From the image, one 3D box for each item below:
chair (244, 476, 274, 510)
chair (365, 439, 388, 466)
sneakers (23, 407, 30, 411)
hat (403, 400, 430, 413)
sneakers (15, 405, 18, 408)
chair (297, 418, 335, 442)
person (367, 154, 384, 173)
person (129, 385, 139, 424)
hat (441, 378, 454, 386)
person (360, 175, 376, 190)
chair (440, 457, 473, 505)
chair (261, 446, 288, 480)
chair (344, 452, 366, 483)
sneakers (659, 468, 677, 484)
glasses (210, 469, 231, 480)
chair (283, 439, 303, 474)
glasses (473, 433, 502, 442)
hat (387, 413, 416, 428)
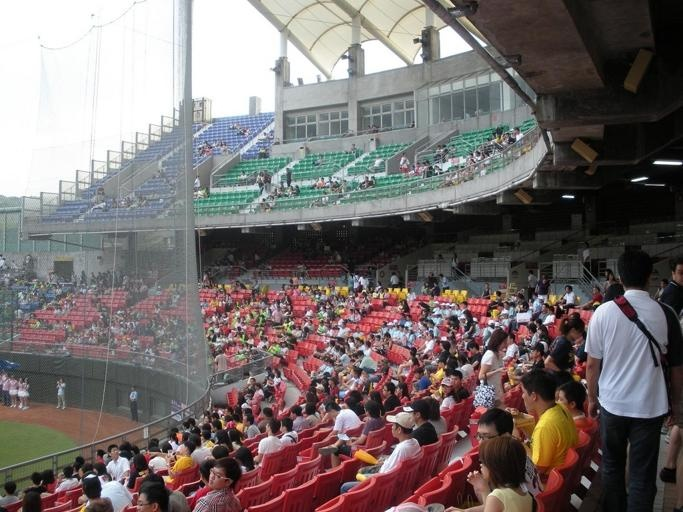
[{"bbox_3d":[-1.218,3.359,10.727,0.364,0.556,0.368,1,-1,42],"label":"chair"},{"bbox_3d":[0.614,3.031,11.530,0.247,0.314,0.235,2,0,44],"label":"chair"},{"bbox_3d":[-7.527,3.620,17.908,0.164,0.079,0.059,-3,-8,27],"label":"sneakers"},{"bbox_3d":[1.076,2.118,10.709,0.259,0.141,0.182,7,-3,7],"label":"hat"},{"bbox_3d":[-7.789,3.570,17.920,0.047,0.061,0.140,7,-12,-24],"label":"sneakers"},{"bbox_3d":[-0.435,3.044,13.219,0.306,0.414,0.332,-1,-2,-40],"label":"chair"},{"bbox_3d":[1.707,-4.224,34.666,0.651,0.973,0.343,2,-38,22],"label":"person"},{"bbox_3d":[-4.613,3.273,16.642,0.202,0.746,0.097,-3,-2,-15],"label":"person"},{"bbox_3d":[1.807,2.120,12.688,0.250,0.119,0.150,14,-7,-33],"label":"hat"},{"bbox_3d":[1.070,-3.057,30.338,0.449,0.572,0.934,-2,2,-15],"label":"person"},{"bbox_3d":[1.511,2.933,9.747,0.441,0.672,0.466,-1,0,37],"label":"chair"},{"bbox_3d":[-1.088,3.258,11.831,0.387,0.621,0.342,1,0,40],"label":"chair"},{"bbox_3d":[0.177,3.110,10.973,0.287,0.359,0.263,-2,-5,34],"label":"chair"},{"bbox_3d":[4.373,2.925,10.031,0.326,0.146,0.116,-8,1,-41],"label":"sneakers"},{"bbox_3d":[-1.541,2.744,9.463,0.154,0.050,0.157,20,-9,-5],"label":"glasses"},{"bbox_3d":[-0.806,3.231,12.145,0.307,0.468,0.312,-4,-8,39],"label":"chair"},{"bbox_3d":[1.670,2.119,8.823,0.214,0.068,0.207,7,-11,-28],"label":"glasses"},{"bbox_3d":[0.820,2.275,10.405,0.311,0.138,0.218,9,21,17],"label":"hat"}]
